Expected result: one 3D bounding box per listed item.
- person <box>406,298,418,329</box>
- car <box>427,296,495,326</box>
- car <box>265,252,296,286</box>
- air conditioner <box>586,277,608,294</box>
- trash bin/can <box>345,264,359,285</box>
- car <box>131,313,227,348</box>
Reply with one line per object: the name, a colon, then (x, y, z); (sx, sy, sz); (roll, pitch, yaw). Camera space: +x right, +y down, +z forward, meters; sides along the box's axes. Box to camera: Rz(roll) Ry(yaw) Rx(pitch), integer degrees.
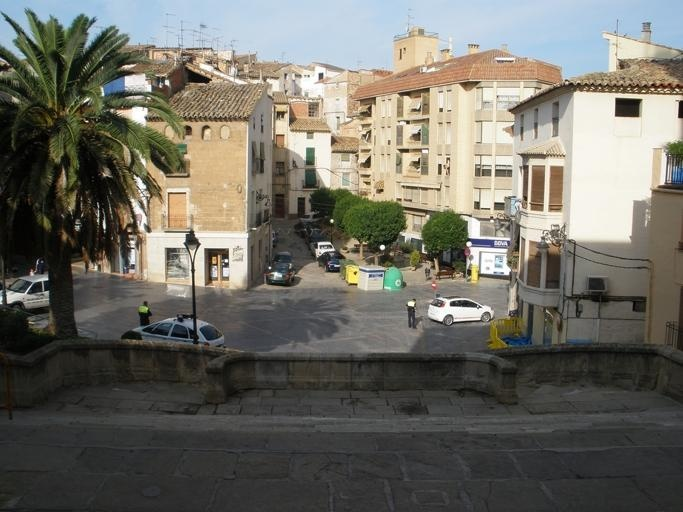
person: (3.795, 2.988, 38.653); (0.481, 1.723, 1.533); (1, 14, 6)
car: (6.622, 3.040, 40.893); (2.838, 1.244, 1.701); (-4, 7, -14)
car: (-4.500, 0.992, 53.301); (1.826, 1.724, 4.798); (0, 6, -1)
air conditioner: (10.603, 1.208, 30.330); (0.980, 0.917, 0.609); (0, -4, 5)
trash bin/can: (0.862, 1.481, 52.042); (1.084, 1.598, 1.742); (1, 2, -4)
car: (-6.509, 2.990, 28.791); (2.880, 1.057, 1.606); (7, 1, 4)
